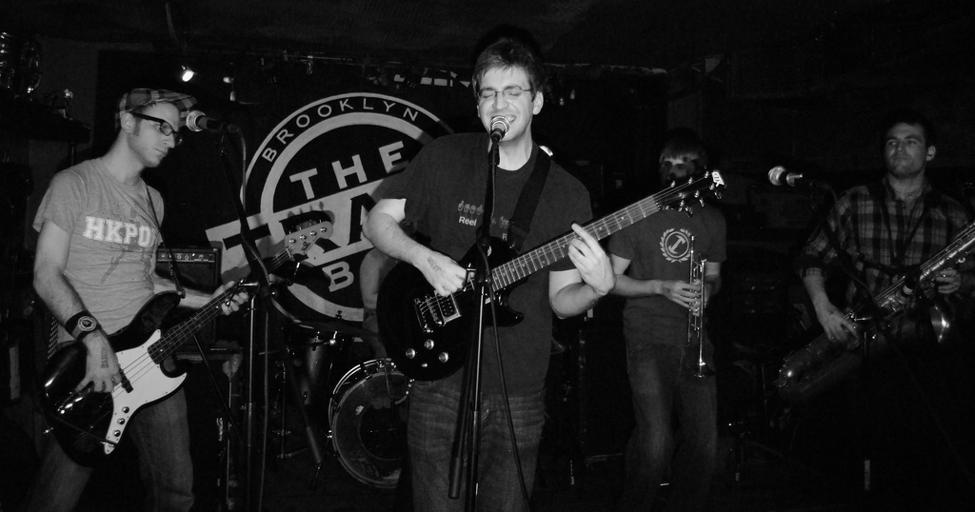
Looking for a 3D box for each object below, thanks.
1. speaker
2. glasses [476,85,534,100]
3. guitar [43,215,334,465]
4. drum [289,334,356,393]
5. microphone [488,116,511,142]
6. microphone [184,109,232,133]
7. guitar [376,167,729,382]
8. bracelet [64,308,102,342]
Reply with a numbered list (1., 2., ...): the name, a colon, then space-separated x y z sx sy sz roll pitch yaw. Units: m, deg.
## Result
1. speaker: -3.141 0.267 7.461 1.507 1.405 0.755 0 0 1
2. glasses: 0.126 -1.222 5.782 0.390 0.108 0.093 5 5 8
3. guitar: -3.082 1.032 6.569 1.287 1.462 0.225 3 6 -23
4. drum: -1.740 1.042 8.180 0.753 0.686 0.457 0 0 8
5. microphone: 0.080 -0.933 5.623 0.158 0.209 0.253 5 5 3
6. microphone: -2.286 -1.103 6.278 0.500 0.176 0.234 9 7 41
7. guitar: 0.510 0.170 6.333 2.372 0.786 0.318 -23 -9 5
8. bracelet: -3.341 0.557 6.364 0.218 0.277 0.110 38 31 -11
